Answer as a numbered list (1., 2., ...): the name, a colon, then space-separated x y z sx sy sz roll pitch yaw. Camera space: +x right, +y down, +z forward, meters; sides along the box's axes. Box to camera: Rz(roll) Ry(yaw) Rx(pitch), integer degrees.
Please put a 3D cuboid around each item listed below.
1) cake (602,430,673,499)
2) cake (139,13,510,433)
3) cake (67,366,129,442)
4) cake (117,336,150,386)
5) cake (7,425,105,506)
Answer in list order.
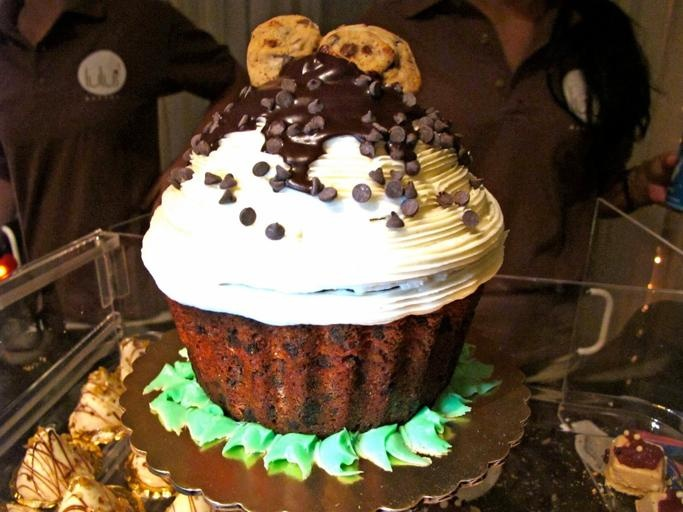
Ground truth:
1. cake: 1.143 0.807 2.386 0.194 0.127 0.207 15 48 27
2. cake: -0.069 -0.075 2.243 1.244 1.403 0.690 8 22 10
3. cake: -1.045 0.642 2.611 0.227 0.197 0.327 -6 24 -21
4. cake: -0.921 0.479 2.796 0.065 0.187 0.142 27 -19 -37
5. cake: -1.105 0.815 2.420 0.268 0.220 0.307 1 6 12
